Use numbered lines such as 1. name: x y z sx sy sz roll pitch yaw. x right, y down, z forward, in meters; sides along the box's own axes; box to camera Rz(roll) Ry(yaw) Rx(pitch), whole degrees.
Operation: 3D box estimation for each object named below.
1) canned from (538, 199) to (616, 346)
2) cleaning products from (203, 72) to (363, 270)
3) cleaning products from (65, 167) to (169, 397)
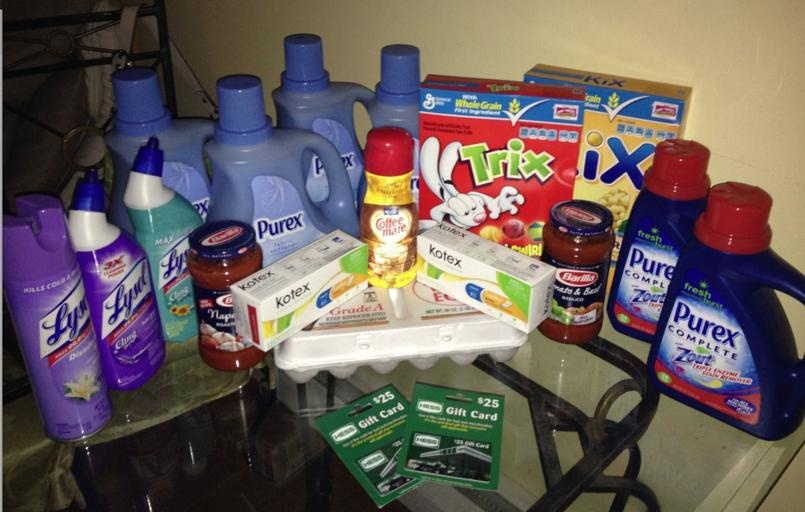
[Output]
1. canned: 0.317 0.032 1.062 0.136 0.229 0.131 7 28 19
2. cleaning products: -0.217 -0.145 1.046 0.291 0.355 0.153 -19 40 -25
3. cleaning products: -0.470 0.045 0.959 0.102 0.370 0.097 -11 28 -22
